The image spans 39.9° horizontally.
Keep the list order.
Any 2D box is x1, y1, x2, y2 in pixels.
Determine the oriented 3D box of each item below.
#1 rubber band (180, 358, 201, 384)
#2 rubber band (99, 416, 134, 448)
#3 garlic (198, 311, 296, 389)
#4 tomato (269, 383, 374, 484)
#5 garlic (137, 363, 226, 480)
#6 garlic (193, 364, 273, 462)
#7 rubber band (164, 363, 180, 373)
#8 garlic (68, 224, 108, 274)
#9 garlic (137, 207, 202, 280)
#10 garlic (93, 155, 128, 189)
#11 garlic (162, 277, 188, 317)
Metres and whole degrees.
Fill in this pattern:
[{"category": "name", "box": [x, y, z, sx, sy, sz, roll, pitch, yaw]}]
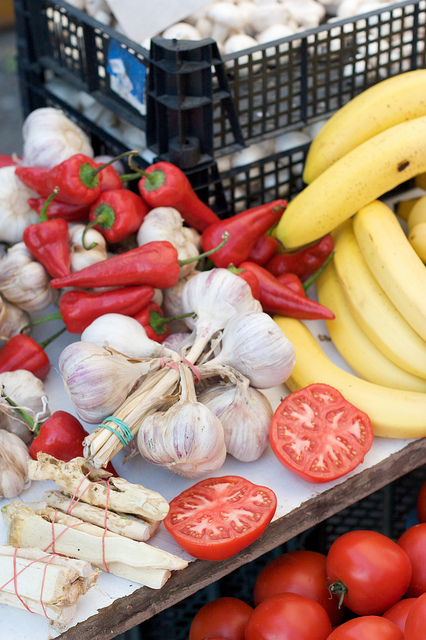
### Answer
[{"category": "rubber band", "box": [-0.034, 0.091, 1.082, 0.013, 0.037, 0.041, -46, 66, -4]}, {"category": "rubber band", "box": [-0.164, 0.188, 0.985, 0.053, 0.045, 0.028, 14, 33, 20]}, {"category": "garlic", "box": [0.057, 0.062, 1.073, 0.172, 0.081, 0.113, -19, 76, -8]}, {"category": "tomato", "box": [0.193, 0.202, 1.053, 0.152, 0.056, 0.167, 34, 61, 17]}, {"category": "garlic", "box": [-0.042, 0.185, 0.997, 0.132, 0.141, 0.150, 18, 34, 26]}, {"category": "garlic", "box": [0.037, 0.167, 1.036, 0.138, 0.178, 0.126, -5, 21, 14]}, {"category": "rubber band", "box": [-0.074, 0.082, 1.045, 0.011, 0.008, 0.038, -10, 37, -43]}, {"category": "garlic", "box": [-0.275, -0.150, 1.275, 0.080, 0.112, 0.061, -25, 30, -36]}, {"category": "garlic", "box": [-0.101, -0.166, 1.277, 0.084, 0.150, 0.148, 1, 43, 39]}, {"category": "garlic", "box": [-0.252, -0.386, 1.468, 0.060, 0.114, 0.050, -11, -8, -37]}, {"category": "garlic", "box": [-0.084, -0.051, 1.301, 0.073, 0.071, 0.070, -3, 14, 0]}]
